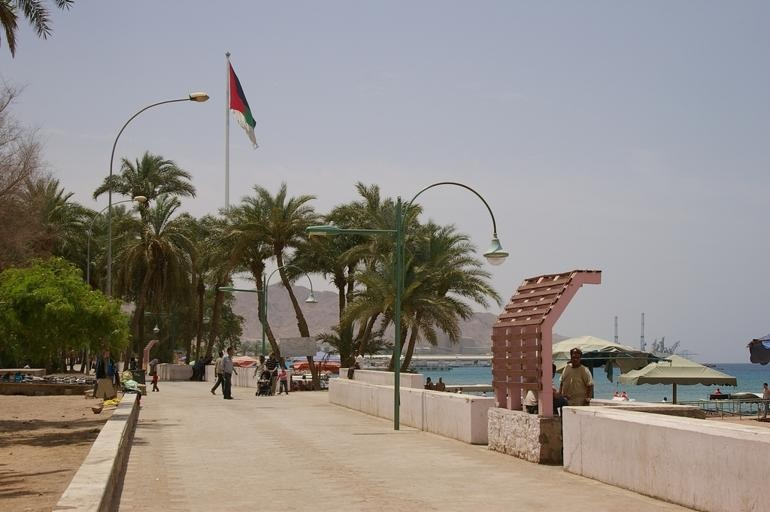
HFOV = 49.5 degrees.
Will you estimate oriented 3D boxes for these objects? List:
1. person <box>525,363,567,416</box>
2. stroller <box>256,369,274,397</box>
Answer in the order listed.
[{"bbox_3d":[3.981,3.176,20.388,0.871,1.225,0.823,5,-12,36],"label":"person"},{"bbox_3d":[-5.661,6.104,39.770,0.813,1.556,1.069,1,-14,7],"label":"stroller"}]
